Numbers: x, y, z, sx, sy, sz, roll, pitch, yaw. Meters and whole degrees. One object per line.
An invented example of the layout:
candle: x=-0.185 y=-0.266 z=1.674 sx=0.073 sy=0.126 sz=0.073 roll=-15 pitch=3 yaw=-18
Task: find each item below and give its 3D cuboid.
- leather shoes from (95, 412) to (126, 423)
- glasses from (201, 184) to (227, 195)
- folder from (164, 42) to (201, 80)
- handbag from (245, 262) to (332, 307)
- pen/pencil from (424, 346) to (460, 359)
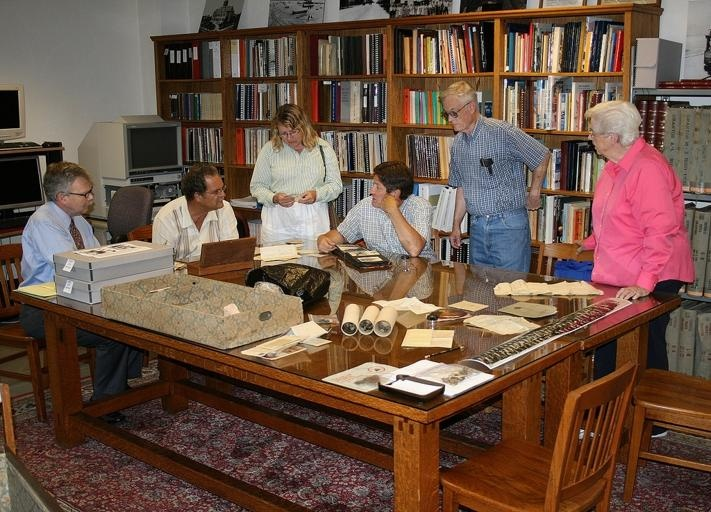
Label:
leather shoes: x=-1.517 y=1.019 z=3.253 sx=0.194 sy=0.054 sz=0.057 roll=-1 pitch=17 yaw=-10
glasses: x=-0.891 y=-0.426 z=3.302 sx=0.117 sy=0.036 sz=0.077 roll=-1 pitch=10 yaw=20
folder: x=-2.206 y=-2.451 z=6.552 sx=0.746 sy=0.484 sz=0.115 roll=6 pitch=15 yaw=41
handbag: x=-0.319 y=0.117 z=2.441 sx=0.316 sy=0.086 sz=0.234 roll=12 pitch=18 yaw=39
pen/pencil: x=0.302 y=0.337 z=1.800 sx=0.149 sy=0.009 sz=0.013 roll=-7 pitch=41 yaw=-38
